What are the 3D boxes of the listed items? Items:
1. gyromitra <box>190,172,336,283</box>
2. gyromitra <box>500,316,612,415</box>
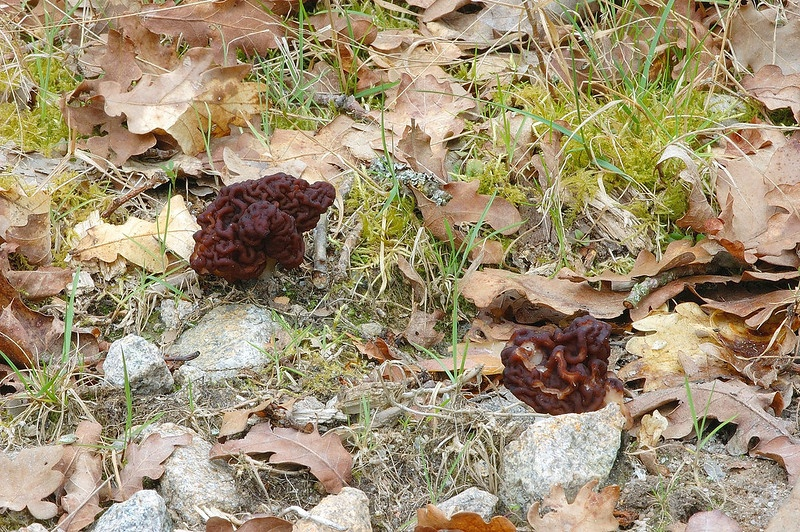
[{"bbox_3d":[-0.741,-0.218,4.173,0.840,0.343,0.399,-18,62,-9],"label":"gyromitra"},{"bbox_3d":[0.839,0.488,3.811,0.642,0.303,0.524,-2,24,5],"label":"gyromitra"}]
